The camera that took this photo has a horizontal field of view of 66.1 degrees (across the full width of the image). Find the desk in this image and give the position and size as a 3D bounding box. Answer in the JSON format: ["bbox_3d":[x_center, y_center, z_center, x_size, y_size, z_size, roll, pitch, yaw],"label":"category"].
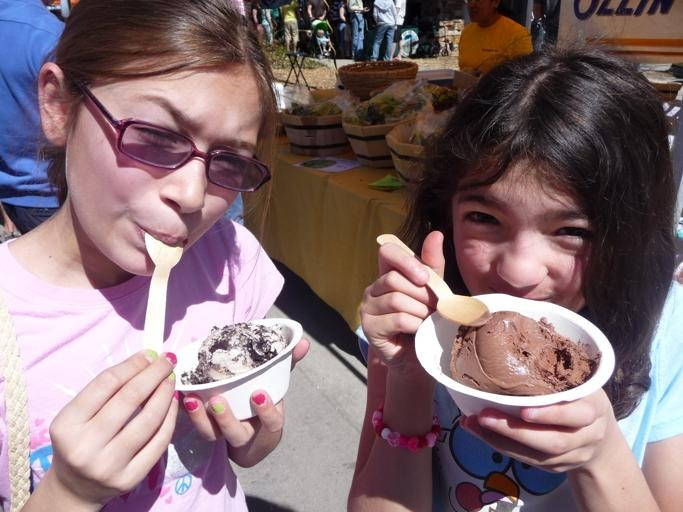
[{"bbox_3d":[-0.123,-0.224,3.911,0.983,1.340,1.703,-17,27,-33],"label":"desk"}]

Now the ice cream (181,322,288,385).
[{"bbox_3d":[-0.340,0.271,1.832,0.287,0.188,0.363,-6,11,-34],"label":"ice cream"}]

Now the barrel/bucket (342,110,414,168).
[{"bbox_3d":[0.272,-0.890,3.910,0.304,0.382,0.380,-16,26,-36],"label":"barrel/bucket"}]

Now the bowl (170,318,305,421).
[{"bbox_3d":[-0.367,0.369,1.739,0.405,0.158,0.447,21,32,38],"label":"bowl"}]

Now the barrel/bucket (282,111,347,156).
[{"bbox_3d":[-0.229,-1.019,4.396,0.422,0.326,0.534,-16,29,-34],"label":"barrel/bucket"}]

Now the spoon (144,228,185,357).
[{"bbox_3d":[-0.577,0.114,1.644,0.181,0.326,0.194,10,18,-13],"label":"spoon"}]

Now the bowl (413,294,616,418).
[{"bbox_3d":[0.551,0.259,1.525,0.423,0.188,0.442,-6,28,3],"label":"bowl"}]

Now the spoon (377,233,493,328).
[{"bbox_3d":[0.270,0.025,1.708,0.149,0.089,0.605,-25,43,-10],"label":"spoon"}]
